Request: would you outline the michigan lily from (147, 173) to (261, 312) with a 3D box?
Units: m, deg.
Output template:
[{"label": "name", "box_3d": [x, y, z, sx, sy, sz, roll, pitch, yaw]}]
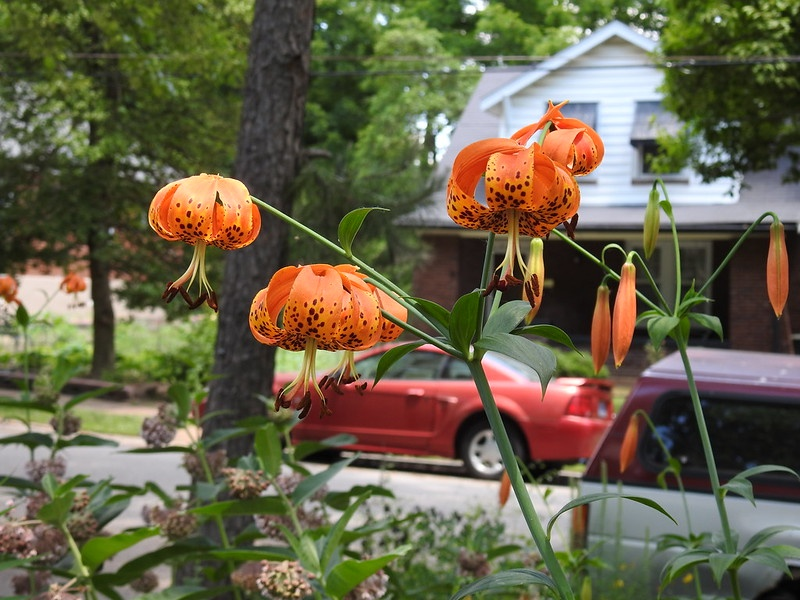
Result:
[{"label": "michigan lily", "box_3d": [-0.641, -0.192, 3.232, 0.314, 0.453, 0.237, 2, 5, 38]}]

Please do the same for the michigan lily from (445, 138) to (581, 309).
[{"label": "michigan lily", "box_3d": [0.367, -0.275, 3.141, 0.267, 0.614, 0.309, 0, 0, -31]}]

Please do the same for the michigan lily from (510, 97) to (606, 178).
[{"label": "michigan lily", "box_3d": [0.533, -0.540, 3.273, 0.251, 0.282, 0.134, -16, -5, -24]}]

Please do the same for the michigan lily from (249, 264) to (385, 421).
[{"label": "michigan lily", "box_3d": [-0.267, 0.144, 3.230, 0.425, 0.524, 0.252, 2, 4, 32]}]

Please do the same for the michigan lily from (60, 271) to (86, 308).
[{"label": "michigan lily", "box_3d": [-1.324, -0.040, 4.000, 0.135, 0.122, 0.212, -4, 15, -30]}]

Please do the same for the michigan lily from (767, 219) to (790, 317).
[{"label": "michigan lily", "box_3d": [1.314, -0.107, 3.410, 0.061, 0.349, 0.231, 1, 4, 21]}]
